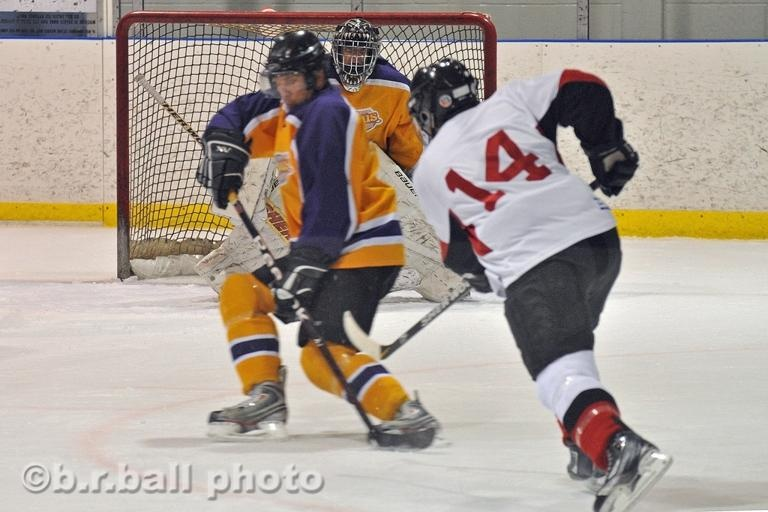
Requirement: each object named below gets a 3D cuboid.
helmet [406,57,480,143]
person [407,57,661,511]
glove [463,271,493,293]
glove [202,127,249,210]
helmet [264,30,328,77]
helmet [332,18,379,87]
[{"bbox_3d":[0.155,-0.550,3.318,0.296,0.288,0.324,-8,12,-15],"label":"helmet"},{"bbox_3d":[0.645,0.073,3.209,0.939,1.407,0.510,11,16,42],"label":"person"},{"bbox_3d":[0.342,0.097,3.384,0.104,0.079,0.066,-6,20,5],"label":"glove"},{"bbox_3d":[-0.634,-0.347,3.756,0.239,0.283,0.127,7,-15,18],"label":"glove"},{"bbox_3d":[-0.337,-0.785,3.687,0.234,0.169,0.178,9,-4,-12],"label":"helmet"},{"bbox_3d":[-0.132,-1.115,5.062,0.325,0.338,0.350,2,33,1],"label":"helmet"}]
